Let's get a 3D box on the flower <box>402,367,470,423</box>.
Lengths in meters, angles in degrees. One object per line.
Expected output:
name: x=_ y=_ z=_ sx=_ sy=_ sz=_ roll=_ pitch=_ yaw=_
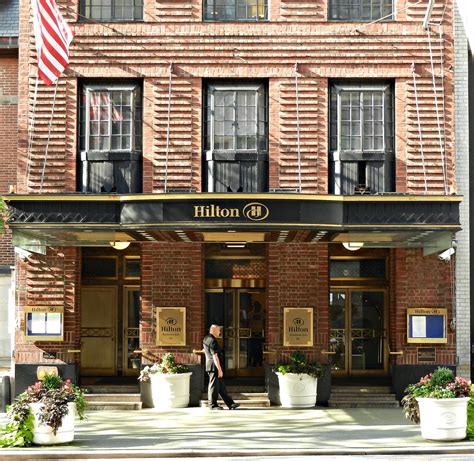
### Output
flower: x=4.340 y=3.470 z=25.260 sx=1.189 sy=1.280 sz=1.257 roll=-4 pitch=-8 yaw=30

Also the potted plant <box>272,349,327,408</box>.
potted plant: x=1.572 y=3.595 z=28.361 sx=1.157 sy=1.384 sz=1.197 roll=1 pitch=-10 yaw=-4

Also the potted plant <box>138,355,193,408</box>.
potted plant: x=-1.857 y=3.746 z=28.654 sx=1.181 sy=1.419 sz=1.074 roll=-4 pitch=-8 yaw=23
